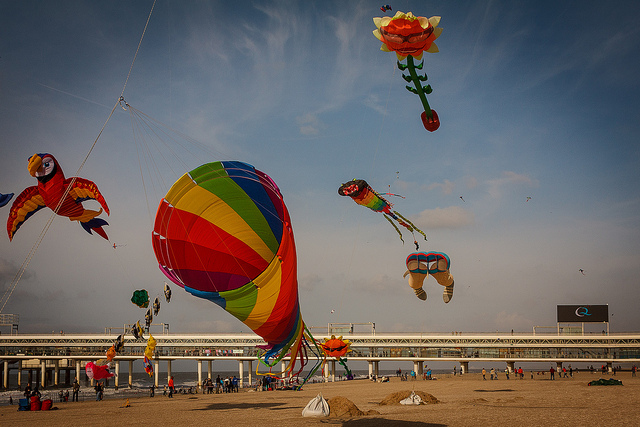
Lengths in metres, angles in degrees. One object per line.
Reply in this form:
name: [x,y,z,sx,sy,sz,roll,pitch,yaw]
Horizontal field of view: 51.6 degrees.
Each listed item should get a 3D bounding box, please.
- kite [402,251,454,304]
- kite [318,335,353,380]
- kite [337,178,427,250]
kite: [10.257,6.355,60.252,4.723,7.232,2.659,6,-57,8]
kite: [1.367,10.140,46.335,2.410,3.771,0.487,-3,-49,-5]
kite: [3.975,0.839,47.219,5.576,1.543,5.271,40,-51,-15]
